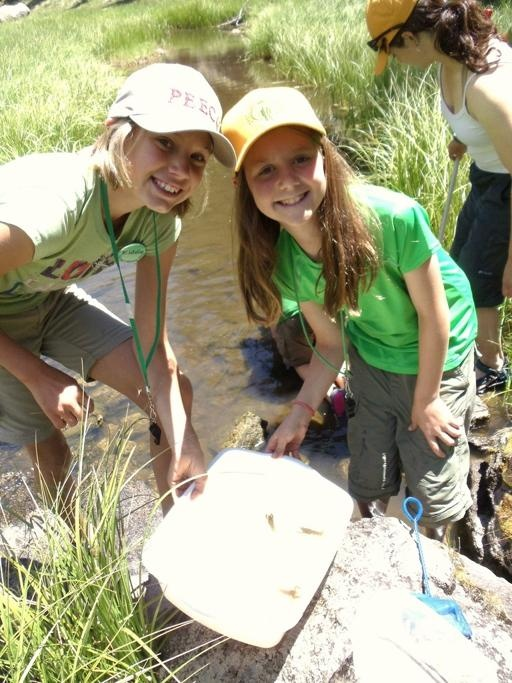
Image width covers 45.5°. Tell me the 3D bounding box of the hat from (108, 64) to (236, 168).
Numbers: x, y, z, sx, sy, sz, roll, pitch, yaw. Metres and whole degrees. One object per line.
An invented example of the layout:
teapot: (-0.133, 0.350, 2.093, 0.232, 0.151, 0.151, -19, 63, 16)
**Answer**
hat: (-0.258, -0.755, 1.941, 0.318, 0.201, 0.400, -5, 19, -43)

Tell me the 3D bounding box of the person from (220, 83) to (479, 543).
person: (0.369, -0.008, 2.243, 0.966, 1.703, 0.646, 7, 34, 15)
